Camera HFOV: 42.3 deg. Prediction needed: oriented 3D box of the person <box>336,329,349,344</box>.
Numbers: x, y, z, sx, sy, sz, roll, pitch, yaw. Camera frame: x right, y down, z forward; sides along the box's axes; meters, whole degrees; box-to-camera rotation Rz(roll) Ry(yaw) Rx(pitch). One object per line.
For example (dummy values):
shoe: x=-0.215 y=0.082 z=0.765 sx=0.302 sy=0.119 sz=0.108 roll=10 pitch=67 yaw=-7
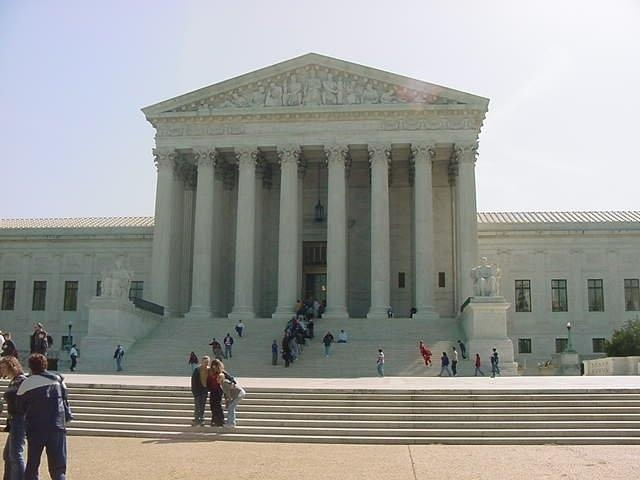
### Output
person: x=1.378 y=5.476 z=46.257 sx=0.609 sy=0.944 sz=0.657 roll=-1 pitch=-51 yaw=5

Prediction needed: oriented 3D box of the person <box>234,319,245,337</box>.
person: x=-4.762 y=5.151 z=48.141 sx=0.519 sy=1.026 sz=2.024 roll=0 pitch=-7 yaw=-6
